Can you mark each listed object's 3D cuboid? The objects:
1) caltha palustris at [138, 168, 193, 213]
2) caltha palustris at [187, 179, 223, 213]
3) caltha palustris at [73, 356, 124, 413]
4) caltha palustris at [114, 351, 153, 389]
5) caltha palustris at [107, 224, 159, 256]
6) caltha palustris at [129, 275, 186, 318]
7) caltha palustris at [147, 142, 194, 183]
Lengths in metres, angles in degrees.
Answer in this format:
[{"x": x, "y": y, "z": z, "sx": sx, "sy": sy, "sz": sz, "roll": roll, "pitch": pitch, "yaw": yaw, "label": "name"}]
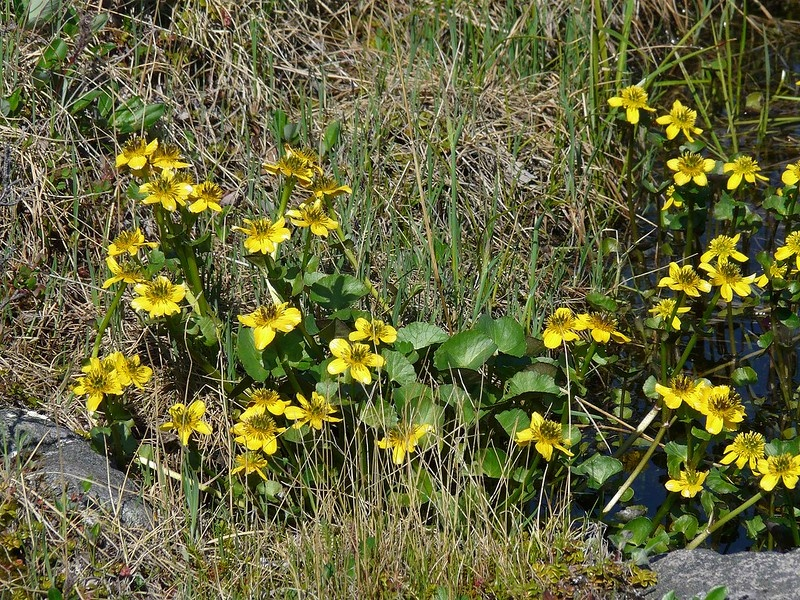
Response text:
[{"x": -0.824, "y": -0.375, "z": 2.800, "sx": 0.149, "sy": 0.081, "sz": 0.156, "roll": -31, "pitch": 67, "yaw": -22, "label": "caltha palustris"}, {"x": -0.703, "y": -0.352, "z": 2.895, "sx": 0.109, "sy": 0.075, "sz": 0.132, "roll": -9, "pitch": 49, "yaw": -8, "label": "caltha palustris"}, {"x": -1.053, "y": 0.276, "z": 2.774, "sx": 0.167, "sy": 0.081, "sz": 0.204, "roll": -16, "pitch": 63, "yaw": -3, "label": "caltha palustris"}, {"x": -0.950, "y": 0.252, "z": 2.823, "sx": 0.120, "sy": 0.050, "sz": 0.114, "roll": 44, "pitch": 20, "yaw": 8, "label": "caltha palustris"}, {"x": -0.972, "y": -0.196, "z": 2.841, "sx": 0.131, "sy": 0.077, "sz": 0.137, "roll": 11, "pitch": 31, "yaw": 45, "label": "caltha palustris"}, {"x": -0.855, "y": 0.003, "z": 2.818, "sx": 0.138, "sy": 0.075, "sz": 0.176, "roll": 4, "pitch": 61, "yaw": -8, "label": "caltha palustris"}, {"x": -0.850, "y": -0.471, "z": 2.947, "sx": 0.149, "sy": 0.105, "sz": 0.158, "roll": 30, "pitch": 44, "yaw": 23, "label": "caltha palustris"}]
